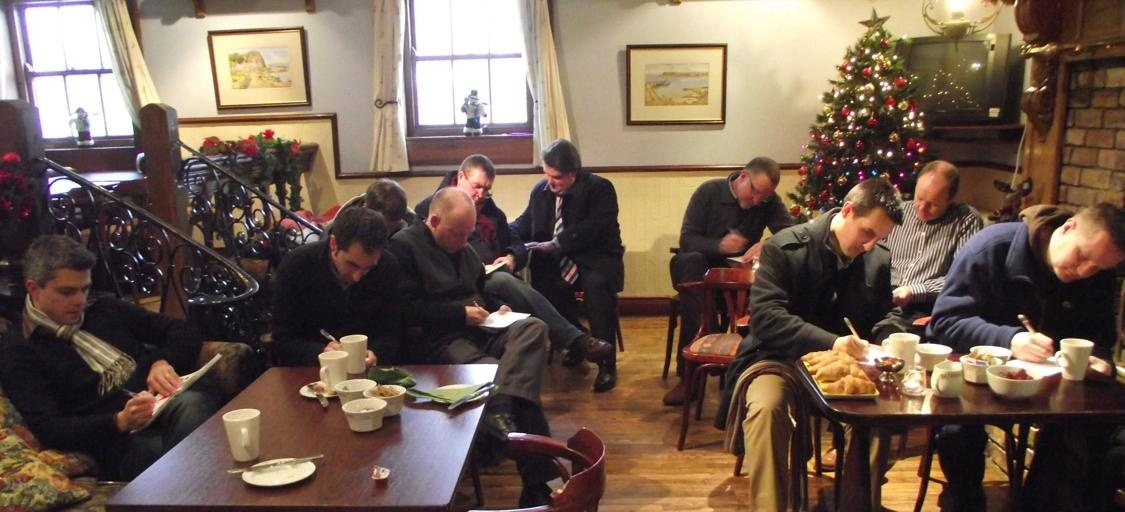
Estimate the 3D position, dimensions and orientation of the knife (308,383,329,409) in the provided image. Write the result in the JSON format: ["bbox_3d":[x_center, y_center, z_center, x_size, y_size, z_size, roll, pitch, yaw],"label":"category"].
[{"bbox_3d":[-1.962,1.117,6.134,0.098,0.040,0.301,-14,20,-21],"label":"knife"}]

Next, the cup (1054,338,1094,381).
[{"bbox_3d":[4.076,0.850,6.182,0.374,0.283,0.234,-6,13,-27],"label":"cup"}]

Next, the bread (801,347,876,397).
[{"bbox_3d":[2.192,0.891,6.092,0.402,0.108,0.406,2,17,-1],"label":"bread"}]

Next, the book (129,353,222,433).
[{"bbox_3d":[-3.195,1.107,6.365,0.759,0.206,0.419,-32,20,-29],"label":"book"}]

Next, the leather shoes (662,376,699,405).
[{"bbox_3d":[1.179,1.458,7.952,0.164,0.168,0.484,6,12,42],"label":"leather shoes"}]

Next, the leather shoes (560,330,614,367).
[{"bbox_3d":[0.137,0.990,8.165,0.747,0.221,0.272,-7,-30,2],"label":"leather shoes"}]

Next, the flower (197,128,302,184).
[{"bbox_3d":[-3.750,-1.194,9.181,1.049,0.453,0.762,2,6,-2],"label":"flower"}]

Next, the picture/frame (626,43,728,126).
[{"bbox_3d":[1.440,-2.201,9.540,1.290,0.766,0.075,0,8,0],"label":"picture/frame"}]

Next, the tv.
[{"bbox_3d":[4.357,-2.074,9.157,1.490,0.974,0.707,-6,10,-16],"label":"tv"}]

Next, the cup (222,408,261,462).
[{"bbox_3d":[-2.420,1.356,5.789,0.240,0.374,0.220,-2,11,0],"label":"cup"}]

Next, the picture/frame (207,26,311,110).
[{"bbox_3d":[-3.872,-2.468,9.782,1.341,0.857,0.095,-1,13,-1],"label":"picture/frame"}]

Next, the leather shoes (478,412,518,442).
[{"bbox_3d":[-0.589,1.497,6.694,0.464,0.219,0.225,4,-31,-30],"label":"leather shoes"}]
